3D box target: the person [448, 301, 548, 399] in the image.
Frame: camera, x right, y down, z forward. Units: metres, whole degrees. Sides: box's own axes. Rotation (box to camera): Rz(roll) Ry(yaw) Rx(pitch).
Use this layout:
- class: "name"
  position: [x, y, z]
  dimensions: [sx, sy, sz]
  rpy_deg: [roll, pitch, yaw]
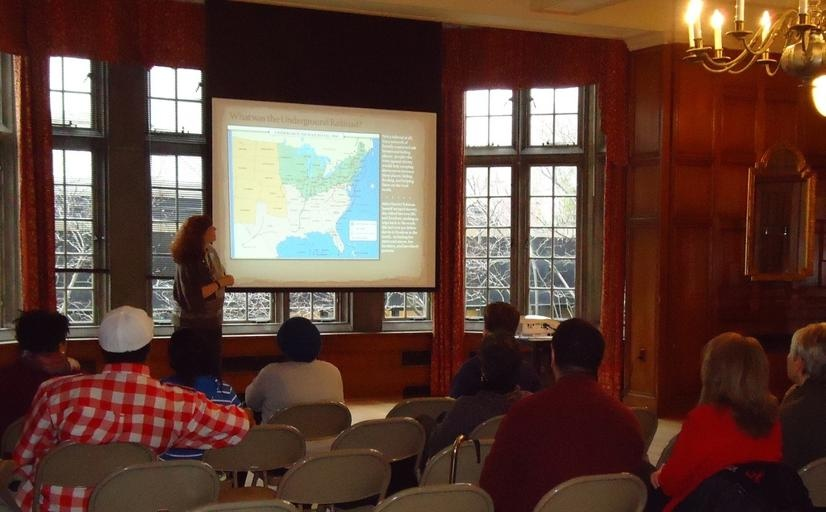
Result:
- class: "person"
  position: [0.685, 0.699, 5.217]
  dimensions: [0.722, 0.646, 0.373]
  rpy_deg: [-5, -24, 13]

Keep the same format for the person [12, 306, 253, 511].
- class: "person"
  position: [-1.804, 0.978, 4.276]
  dimensions: [1.167, 2.049, 0.808]
  rpy_deg: [8, 20, -8]

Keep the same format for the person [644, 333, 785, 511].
- class: "person"
  position: [1.759, 0.978, 3.903]
  dimensions: [0.620, 1.029, 0.286]
  rpy_deg: [-1, 3, -19]
